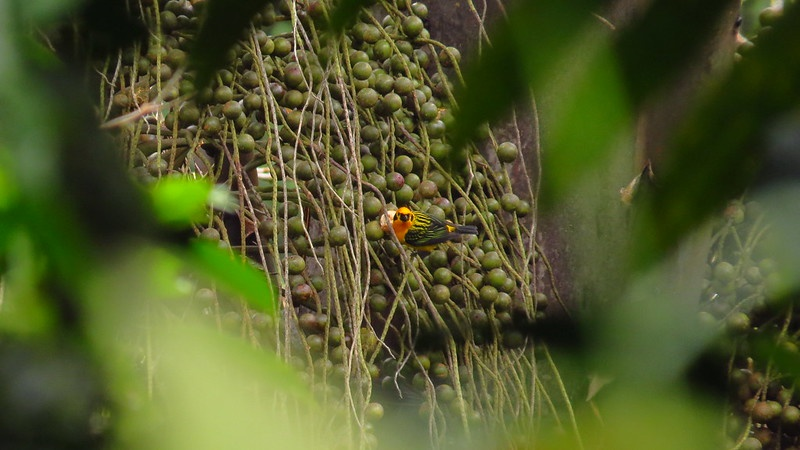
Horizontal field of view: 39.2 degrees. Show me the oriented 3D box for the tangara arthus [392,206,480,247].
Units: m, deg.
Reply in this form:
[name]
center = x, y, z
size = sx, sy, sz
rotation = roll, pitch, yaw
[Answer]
[tangara arthus]
center = 0.039, 0.004, 1.285
size = 0.096, 0.058, 0.056
rotation = -3, 21, 3
